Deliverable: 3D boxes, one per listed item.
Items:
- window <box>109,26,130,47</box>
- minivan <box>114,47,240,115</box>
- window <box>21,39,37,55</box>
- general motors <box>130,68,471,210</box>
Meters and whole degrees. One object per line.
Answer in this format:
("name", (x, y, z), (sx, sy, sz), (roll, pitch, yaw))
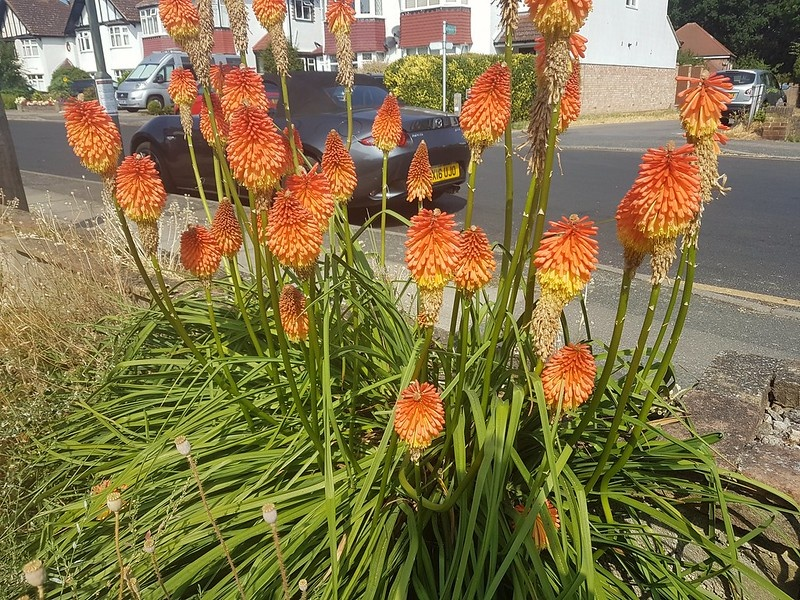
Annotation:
("window", (-24.681, -23.360, 47.617), (1.609, 1.766, 0.197), (7, 20, 34))
("minivan", (-11.966, -11.806, 28.782), (2.352, 2.966, 5.988), (16, 29, 27))
("window", (-37.910, -26.005, 55.246), (1.339, 1.440, 1.096), (5, 26, -6))
("general motors", (-1.989, -2.307, 8.870), (5.586, 2.116, 2.754), (16, 32, 20))
